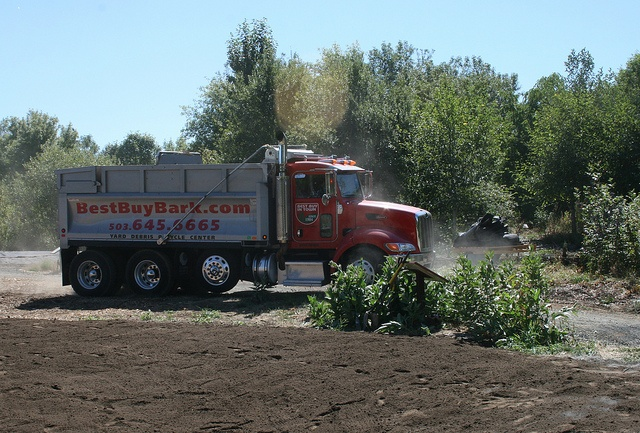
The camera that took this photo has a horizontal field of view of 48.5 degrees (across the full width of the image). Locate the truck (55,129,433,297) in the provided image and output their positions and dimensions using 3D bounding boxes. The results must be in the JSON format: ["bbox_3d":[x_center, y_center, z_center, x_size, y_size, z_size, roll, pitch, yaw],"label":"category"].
[{"bbox_3d":[-2.318,0.186,22.082,9.636,4.374,5.072,-2,1,14],"label":"truck"}]
